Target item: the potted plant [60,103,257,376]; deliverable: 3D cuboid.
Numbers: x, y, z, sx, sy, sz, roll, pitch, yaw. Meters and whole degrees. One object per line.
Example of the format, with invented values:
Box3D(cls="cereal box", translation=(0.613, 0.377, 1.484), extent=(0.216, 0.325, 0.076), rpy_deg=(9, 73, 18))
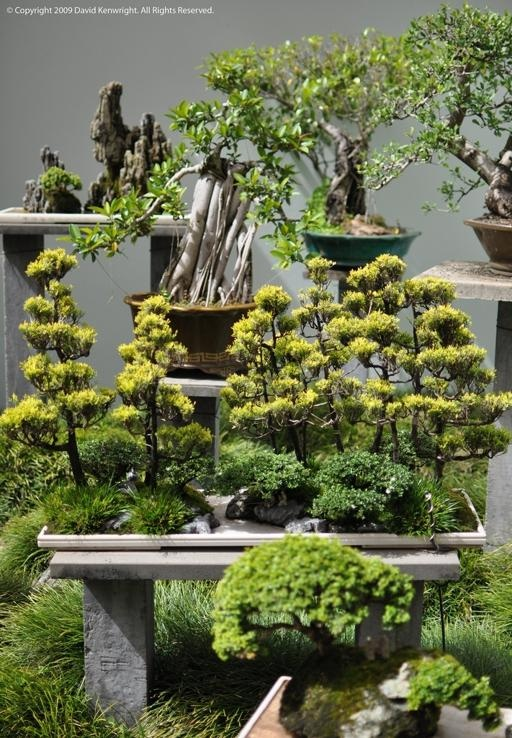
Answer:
Box3D(cls="potted plant", translation=(-0.191, -0.309, 2.449), extent=(0.374, 0.643, 0.378), rpy_deg=(2, 15, -1))
